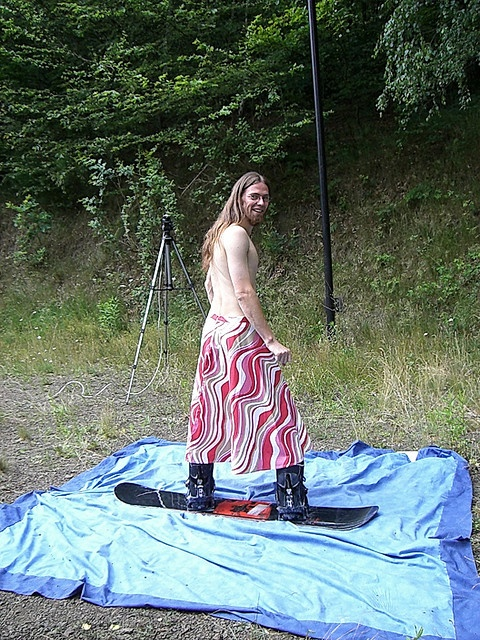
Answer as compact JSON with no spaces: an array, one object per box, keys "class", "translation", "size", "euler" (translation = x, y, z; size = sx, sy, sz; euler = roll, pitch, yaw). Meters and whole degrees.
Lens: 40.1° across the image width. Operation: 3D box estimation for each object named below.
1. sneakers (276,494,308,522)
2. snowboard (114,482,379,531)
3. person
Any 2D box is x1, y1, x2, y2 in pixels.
[{"class":"sneakers","translation":[0.264,0.989,3.455],"size":[0.125,0.137,0.157],"euler":[7,-16,-32]},{"class":"snowboard","translation":[0.049,1.011,3.543],"size":[1.685,0.086,0.237],"euler":[-1,4,17]},{"class":"person","translation":[0.013,0.154,3.418],"size":[0.684,1.795,0.512],"euler":[1,13,20]}]
